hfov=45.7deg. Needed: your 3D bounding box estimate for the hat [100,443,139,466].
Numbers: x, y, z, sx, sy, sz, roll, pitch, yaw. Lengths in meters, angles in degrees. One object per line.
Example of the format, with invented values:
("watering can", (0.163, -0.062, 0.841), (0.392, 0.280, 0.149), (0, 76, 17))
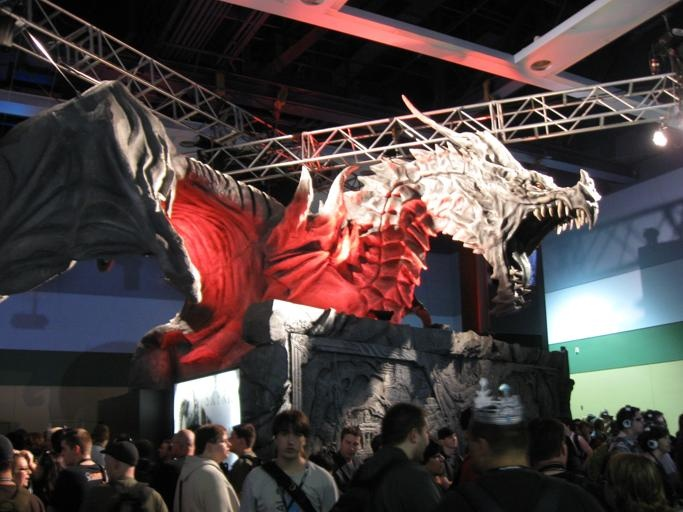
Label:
("hat", (-1.546, 1.377, 5.706), (0.237, 0.099, 0.163), (14, -5, 26))
